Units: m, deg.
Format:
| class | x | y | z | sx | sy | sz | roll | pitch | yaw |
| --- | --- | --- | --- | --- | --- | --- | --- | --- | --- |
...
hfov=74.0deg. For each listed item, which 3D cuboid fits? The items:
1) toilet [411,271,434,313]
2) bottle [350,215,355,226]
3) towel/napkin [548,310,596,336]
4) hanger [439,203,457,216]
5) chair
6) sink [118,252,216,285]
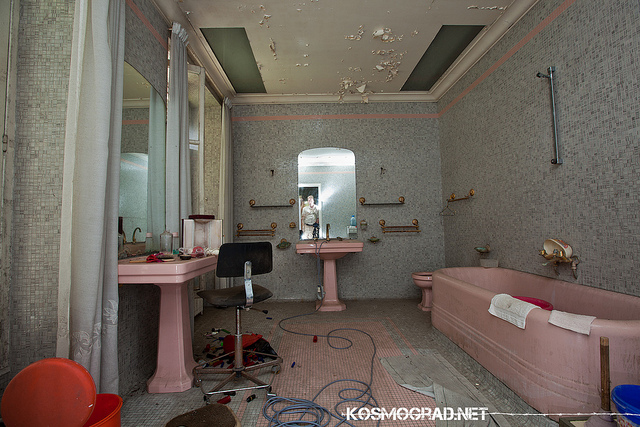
| class | x | y | z | sx | sy | sz | roll | pitch | yaw |
| --- | --- | --- | --- | --- | --- | --- | --- | --- | --- |
| toilet | 1.328 | 0.952 | 5.288 | 0.369 | 0.360 | 0.358 | -4 | -9 | 27 |
| bottle | 0.455 | 0.090 | 5.864 | 0.087 | 0.143 | 0.040 | -1 | 10 | 5 |
| towel/napkin | 1.772 | 0.763 | 3.017 | 0.193 | 0.042 | 0.186 | 7 | 14 | 39 |
| hanger | 1.707 | -0.047 | 5.655 | 0.011 | 0.168 | 0.174 | -6 | 10 | -36 |
| chair | -0.693 | 0.845 | 3.710 | 0.843 | 1.200 | 0.747 | 0 | 0 | -19 |
| sink | -1.205 | 0.447 | 3.393 | 0.744 | 0.188 | 0.423 | -3 | 9 | -14 |
